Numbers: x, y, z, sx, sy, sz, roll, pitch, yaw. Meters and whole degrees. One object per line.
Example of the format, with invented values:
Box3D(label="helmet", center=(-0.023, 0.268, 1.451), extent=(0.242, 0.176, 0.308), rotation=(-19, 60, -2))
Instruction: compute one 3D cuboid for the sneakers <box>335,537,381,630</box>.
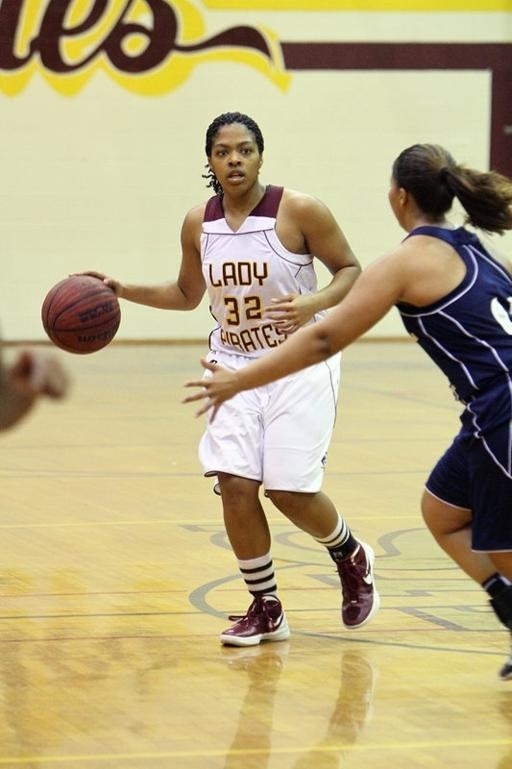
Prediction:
Box3D(label="sneakers", center=(0.336, 0.612, 2.317), extent=(0.109, 0.131, 0.293), rotation=(-16, 34, 24))

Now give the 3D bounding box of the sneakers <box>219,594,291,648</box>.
Box3D(label="sneakers", center=(0.010, 0.707, 2.201), extent=(0.250, 0.129, 0.100), rotation=(6, -13, -35))
